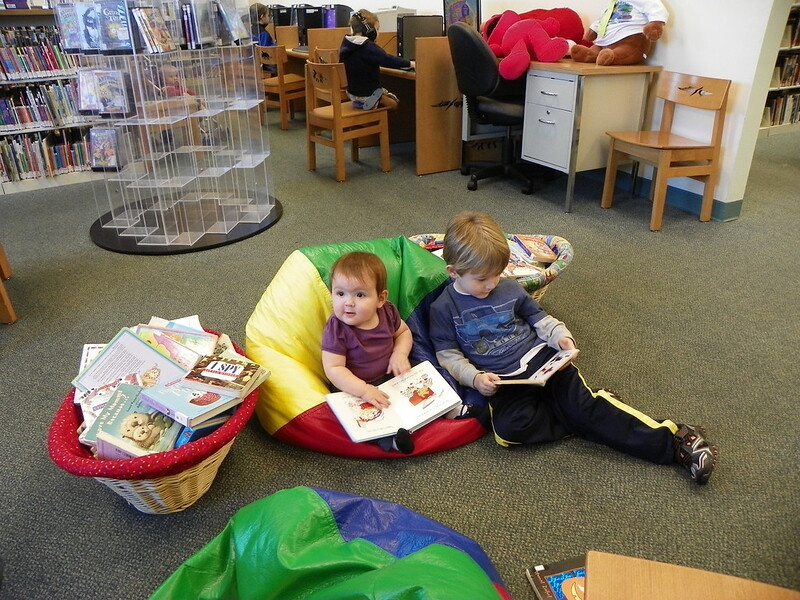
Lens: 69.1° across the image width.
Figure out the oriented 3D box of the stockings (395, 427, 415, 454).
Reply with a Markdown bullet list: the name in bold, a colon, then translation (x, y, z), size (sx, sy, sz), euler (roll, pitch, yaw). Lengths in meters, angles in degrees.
- **stockings**: translation (0.013, 0.479, 1.943), size (0.061, 0.097, 0.047), euler (-14, 31, -21)

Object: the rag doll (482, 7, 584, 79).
- **rag doll**: translation (0.846, -1.732, 3.903), size (0.616, 0.206, 0.645), euler (-2, 43, 32)

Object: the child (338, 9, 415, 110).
- **child**: translation (-0.232, -1.874, 4.508), size (0.506, 0.744, 0.636), euler (-11, 23, -28)

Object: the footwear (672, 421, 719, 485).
- **footwear**: translation (0.962, 0.491, 1.915), size (0.114, 0.072, 0.179), euler (-33, 41, 7)

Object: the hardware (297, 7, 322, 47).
- **hardware**: translation (-1.026, -3.161, 6.655), size (0.296, 0.379, 0.980), euler (-6, 30, -8)

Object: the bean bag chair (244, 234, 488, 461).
- **bean bag chair**: translation (-0.095, 0.150, 2.255), size (0.975, 0.581, 0.945), euler (-8, 23, -9)

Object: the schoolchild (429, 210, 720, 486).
- **schoolchild**: translation (0.518, 0.159, 1.956), size (0.514, 0.687, 1.026), euler (-20, 30, -34)

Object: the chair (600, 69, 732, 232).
- **chair**: translation (1.631, -0.940, 3.542), size (0.519, 0.921, 0.597), euler (-14, 30, -21)

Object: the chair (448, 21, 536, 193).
- **chair**: translation (0.713, -1.409, 4.165), size (0.661, 1.086, 0.630), euler (-7, 26, -4)

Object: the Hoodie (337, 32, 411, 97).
- **Hoodie**: translation (-0.178, -1.745, 4.348), size (0.412, 0.423, 0.586), euler (-30, 41, -33)

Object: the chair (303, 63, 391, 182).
- **chair**: translation (-0.406, -1.384, 4.485), size (0.640, 0.983, 0.682), euler (-18, 35, -29)

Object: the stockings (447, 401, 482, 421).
- **stockings**: translation (0.229, 0.393, 2.058), size (0.126, 0.034, 0.051), euler (-12, 72, -4)

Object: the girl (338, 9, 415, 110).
- **girl**: translation (-0.223, -1.865, 4.501), size (0.529, 0.753, 0.610), euler (-12, 24, -31)

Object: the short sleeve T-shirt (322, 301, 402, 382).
- **short sleeve T-shirt**: translation (-0.137, 0.152, 2.048), size (0.211, 0.213, 0.118), euler (-16, 33, -31)

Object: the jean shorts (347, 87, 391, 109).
- **jean shorts**: translation (-0.209, -1.521, 4.364), size (0.331, 0.152, 0.159), euler (-6, 30, 14)

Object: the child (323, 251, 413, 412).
- **child**: translation (-0.104, 0.125, 2.045), size (0.334, 0.557, 0.392), euler (-2, 31, 2)

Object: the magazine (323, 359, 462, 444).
- **magazine**: translation (-0.021, 0.356, 2.010), size (0.438, 0.110, 0.205), euler (-13, 32, -20)

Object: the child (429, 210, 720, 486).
- **child**: translation (0.526, 0.161, 1.943), size (0.506, 0.693, 1.059), euler (-22, 30, -36)

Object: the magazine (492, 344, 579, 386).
- **magazine**: translation (0.469, 0.232, 2.046), size (0.233, 0.023, 0.317), euler (-15, 8, 36)
